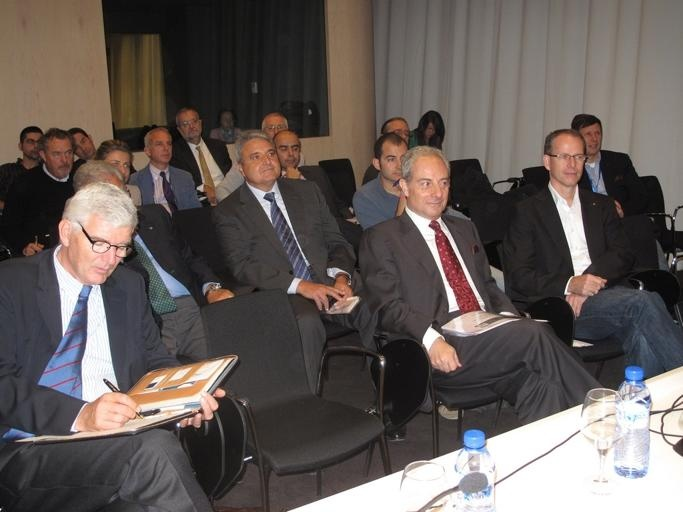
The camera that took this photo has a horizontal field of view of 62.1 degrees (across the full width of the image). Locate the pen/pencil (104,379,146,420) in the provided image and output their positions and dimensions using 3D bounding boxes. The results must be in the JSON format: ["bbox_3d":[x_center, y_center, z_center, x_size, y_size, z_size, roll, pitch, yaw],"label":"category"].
[{"bbox_3d":[-0.794,0.530,2.065,0.025,0.151,0.018,-43,-6,-33],"label":"pen/pencil"}]

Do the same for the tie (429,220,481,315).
[{"bbox_3d":[0.638,0.097,3.271,0.152,0.684,0.081,-11,-14,-16],"label":"tie"}]

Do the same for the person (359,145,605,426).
[{"bbox_3d":[0.801,0.083,3.474,0.928,1.489,1.711,-14,12,-29],"label":"person"}]

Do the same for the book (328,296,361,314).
[{"bbox_3d":[0.013,0.302,3.365,0.123,0.037,0.126,-22,15,10],"label":"book"}]

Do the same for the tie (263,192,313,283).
[{"bbox_3d":[-0.378,-0.136,3.873,0.170,0.768,0.083,-16,-17,-19],"label":"tie"}]

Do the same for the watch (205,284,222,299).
[{"bbox_3d":[-0.787,0.223,3.489,0.081,0.032,0.081,-30,-2,-45],"label":"watch"}]

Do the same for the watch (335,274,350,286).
[{"bbox_3d":[0.013,0.158,3.723,0.068,0.044,0.090,10,-10,40],"label":"watch"}]
